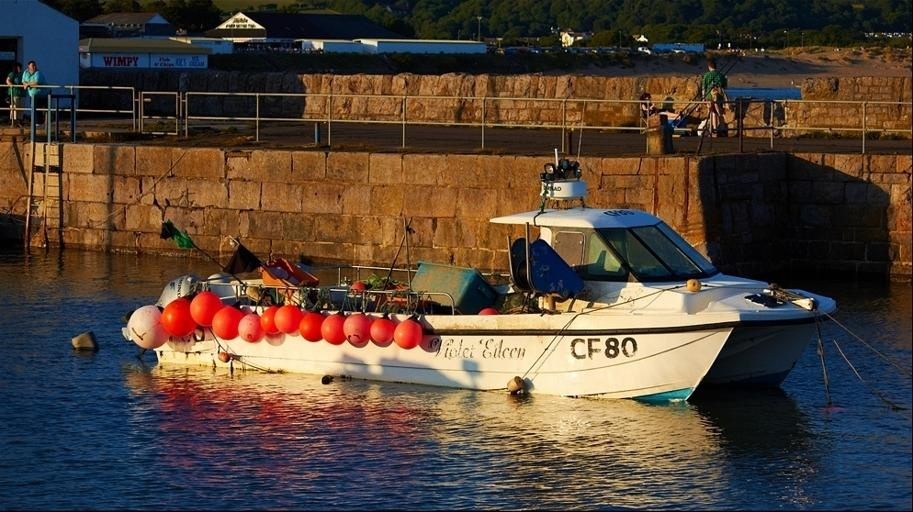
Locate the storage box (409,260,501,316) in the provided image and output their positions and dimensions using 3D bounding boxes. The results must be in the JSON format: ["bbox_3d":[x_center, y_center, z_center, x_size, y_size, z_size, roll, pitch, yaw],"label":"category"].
[{"bbox_3d":[-0.153,0.872,46.835,1.635,1.006,1.137,12,-19,38],"label":"storage box"}]
